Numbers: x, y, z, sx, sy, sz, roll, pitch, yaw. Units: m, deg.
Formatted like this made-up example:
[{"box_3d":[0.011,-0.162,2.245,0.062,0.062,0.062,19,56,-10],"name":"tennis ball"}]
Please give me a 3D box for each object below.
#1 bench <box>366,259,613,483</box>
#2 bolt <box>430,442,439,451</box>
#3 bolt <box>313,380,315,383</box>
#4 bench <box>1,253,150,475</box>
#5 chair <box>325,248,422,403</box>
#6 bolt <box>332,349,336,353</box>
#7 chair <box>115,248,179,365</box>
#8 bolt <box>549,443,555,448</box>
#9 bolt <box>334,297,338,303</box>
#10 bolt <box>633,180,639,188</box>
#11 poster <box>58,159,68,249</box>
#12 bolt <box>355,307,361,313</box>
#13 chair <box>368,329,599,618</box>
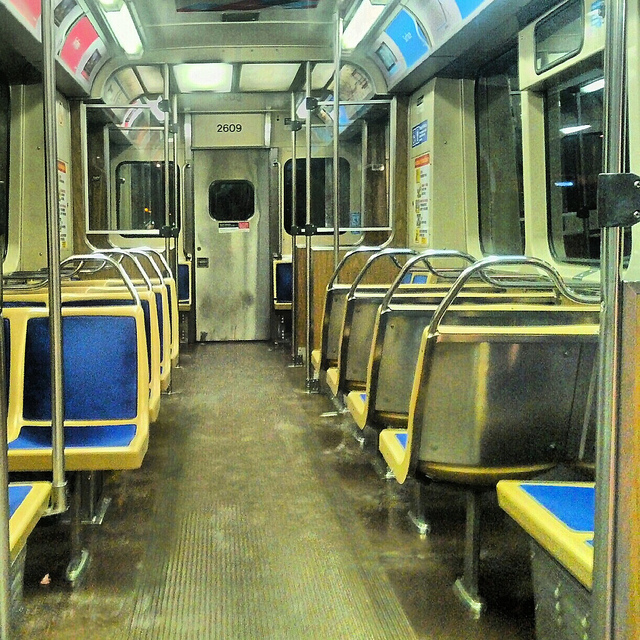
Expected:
[{"box_3d":[0.568,0.122,2.772,0.703,0.779,1.398,1,6,-2],"name":"bench"},{"box_3d":[0.356,0.393,2.188,0.024,0.028,0.006,0,-2,25],"name":"bolt"},{"box_3d":[-0.055,0.499,5.742,0.015,0.026,0.022,0,0,33],"name":"bolt"},{"box_3d":[-0.965,0.189,2.853,0.650,0.424,1.097,0,9,-11],"name":"bench"},{"box_3d":[0.229,0.007,3.573,0.335,0.567,0.292,10,7,-17],"name":"chair"},{"box_3d":[0.083,0.188,4.336,0.014,0.018,0.004,0,-9,-9],"name":"bolt"},{"box_3d":[-1.303,-0.064,5.238,0.366,0.873,0.374,-6,5,-18],"name":"chair"},{"box_3d":[0.728,0.395,2.201,0.015,0.018,0.009,5,6,17],"name":"bolt"},{"box_3d":[0.093,-0.121,4.150,0.020,0.031,0.018,0,5,-6],"name":"bolt"},{"box_3d":[0.481,-0.207,1.067,0.007,0.011,0.010,-8,13,-4],"name":"bolt"},{"box_3d":[-2.244,-1.013,6.133,0.054,0.761,0.374,-1,5,-18],"name":"poster"},{"box_3d":[0.190,-0.053,3.533,0.020,0.024,0.007,0,6,-11],"name":"bolt"},{"box_3d":[0.548,0.460,2.477,0.596,1.183,0.740,-4,17,-14],"name":"chair"}]
